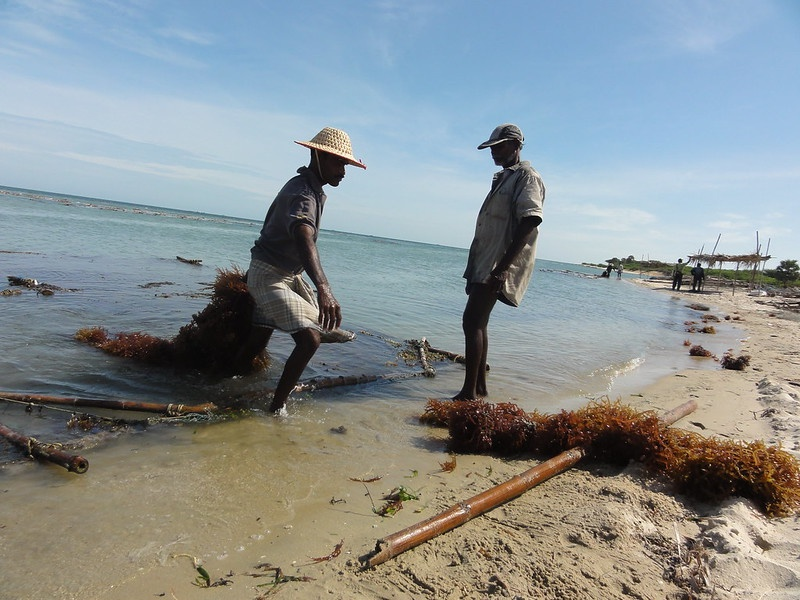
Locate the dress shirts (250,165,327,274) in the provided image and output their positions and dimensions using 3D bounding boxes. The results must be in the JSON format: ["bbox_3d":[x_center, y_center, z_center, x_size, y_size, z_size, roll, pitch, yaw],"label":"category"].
[{"bbox_3d":[-1.116,-0.765,5.481,0.714,1.005,1.565,18,6,-10],"label":"dress shirts"}]

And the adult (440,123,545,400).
[{"bbox_3d":[1.129,-0.420,6.358,0.914,2.485,1.009,12,6,-2],"label":"adult"}]

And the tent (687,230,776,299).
[{"bbox_3d":[27.595,-3.072,43.967,5.623,2.927,3.722,6,-2,2],"label":"tent"}]

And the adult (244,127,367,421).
[{"bbox_3d":[-1.076,-0.343,5.660,0.749,3.113,1.365,8,7,-36],"label":"adult"}]
